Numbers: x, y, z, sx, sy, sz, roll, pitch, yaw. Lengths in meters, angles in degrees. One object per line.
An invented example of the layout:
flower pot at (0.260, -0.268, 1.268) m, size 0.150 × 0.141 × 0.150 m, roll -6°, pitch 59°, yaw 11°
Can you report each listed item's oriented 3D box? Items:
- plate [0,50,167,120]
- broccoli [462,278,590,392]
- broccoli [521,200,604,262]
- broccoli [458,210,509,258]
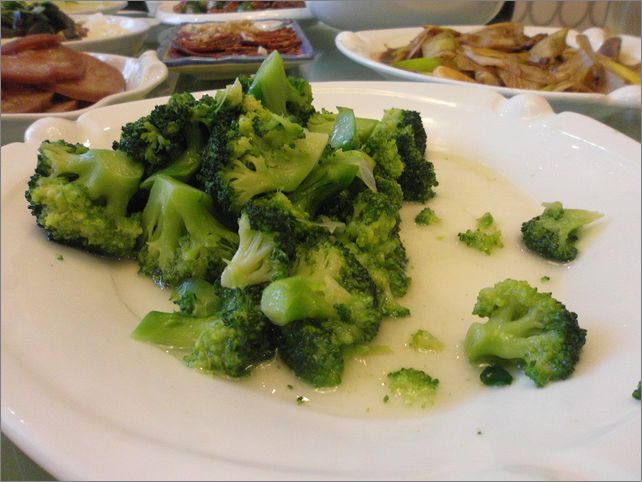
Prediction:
plate at (-1.117, -0.809, 2.903) m, size 0.586 × 0.152 × 0.574 m, roll -18°, pitch 37°, yaw -26°
broccoli at (0.693, 0.302, 1.901) m, size 0.370 × 0.156 × 0.324 m, roll 18°, pitch 58°, yaw 34°
broccoli at (0.944, -0.093, 2.245) m, size 0.330 × 0.306 × 0.113 m, roll -9°, pitch 59°, yaw -55°
broccoli at (0.642, -0.014, 2.257) m, size 0.153 × 0.188 × 0.040 m, roll -11°, pitch 59°, yaw 7°
